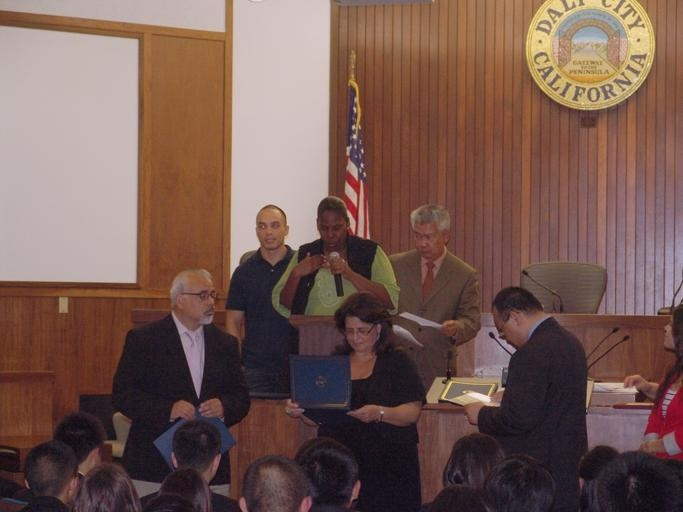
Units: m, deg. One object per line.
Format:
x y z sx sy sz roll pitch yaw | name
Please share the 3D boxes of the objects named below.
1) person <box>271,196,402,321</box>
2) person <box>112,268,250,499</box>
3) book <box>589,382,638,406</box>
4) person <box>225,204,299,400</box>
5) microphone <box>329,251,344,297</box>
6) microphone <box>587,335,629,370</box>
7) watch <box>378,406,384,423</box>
-0.094 0.016 5.351 0.752 1.414 0.641 -3 -16 9 | person
-0.945 1.080 4.247 0.736 1.964 0.653 3 -3 -17 | person
1.765 0.916 4.831 0.227 0.087 0.245 -1 -2 12 | book
-0.535 0.653 5.276 0.603 1.958 0.546 0 4 -3 | person
-0.029 0.125 4.769 0.079 0.296 0.073 -10 2 -27 | microphone
1.952 0.706 5.410 0.372 0.248 0.217 1 0 -22 | microphone
0.217 0.892 4.079 0.035 0.062 0.056 3 29 4 | watch
